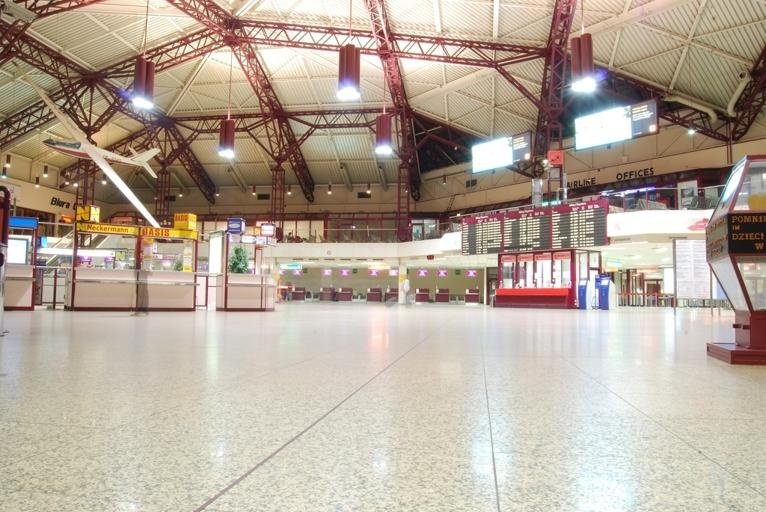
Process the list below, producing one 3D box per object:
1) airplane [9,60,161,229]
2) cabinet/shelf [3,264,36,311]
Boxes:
[{"bbox_3d":[-15.320,-5.768,28.937,9.507,1.397,6.121,41,20,8],"label":"airplane"},{"bbox_3d":[-9.345,0.797,14.755,0.633,1.144,0.703,0,2,-32],"label":"cabinet/shelf"}]
